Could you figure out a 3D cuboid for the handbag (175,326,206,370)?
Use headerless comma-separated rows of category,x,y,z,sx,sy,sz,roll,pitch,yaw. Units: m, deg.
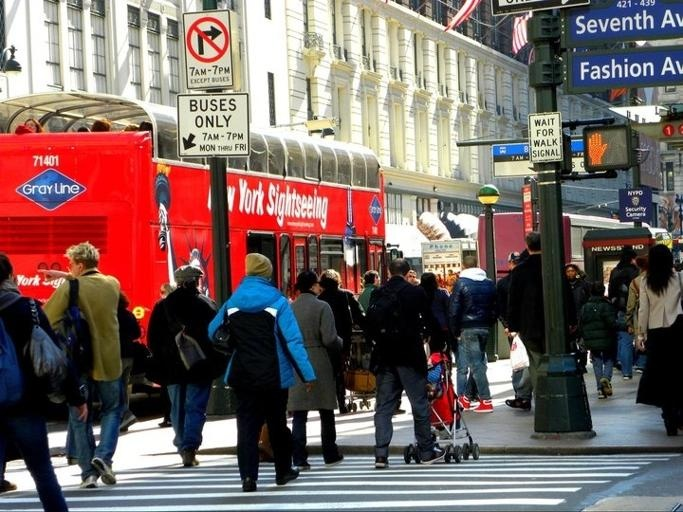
handbag,-1.779,1.045,15.328,0.315,0.140,0.433,32,-6,-15

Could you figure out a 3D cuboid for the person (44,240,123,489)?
person,-2.768,1.129,14.269,0.757,2.740,0.662,1,0,-6

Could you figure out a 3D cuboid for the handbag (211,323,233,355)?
handbag,-1.275,0.894,13.839,0.200,0.306,0.165,-2,2,-8

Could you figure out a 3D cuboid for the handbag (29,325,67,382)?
handbag,-2.684,0.906,11.779,0.226,0.630,0.276,-21,-7,-6

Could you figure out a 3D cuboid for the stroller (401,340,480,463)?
stroller,1.199,1.772,15.338,0.694,1.515,0.817,-2,-2,18

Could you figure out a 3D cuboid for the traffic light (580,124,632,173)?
traffic light,3.471,-1.377,16.628,0.631,0.578,0.345,-2,2,11

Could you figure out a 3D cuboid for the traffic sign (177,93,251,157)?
traffic sign,-1.711,-1.752,17.422,0.958,0.856,0.268,-2,2,7

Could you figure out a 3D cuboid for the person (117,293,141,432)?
person,-2.440,1.165,15.184,0.412,1.459,0.445,-3,-5,34

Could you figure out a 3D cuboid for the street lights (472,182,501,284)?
street lights,3.343,-0.456,28.702,0.481,2.179,0.496,-4,2,-40

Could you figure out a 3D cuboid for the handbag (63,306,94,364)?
handbag,-2.831,0.911,13.895,0.219,0.728,0.216,1,0,-6
